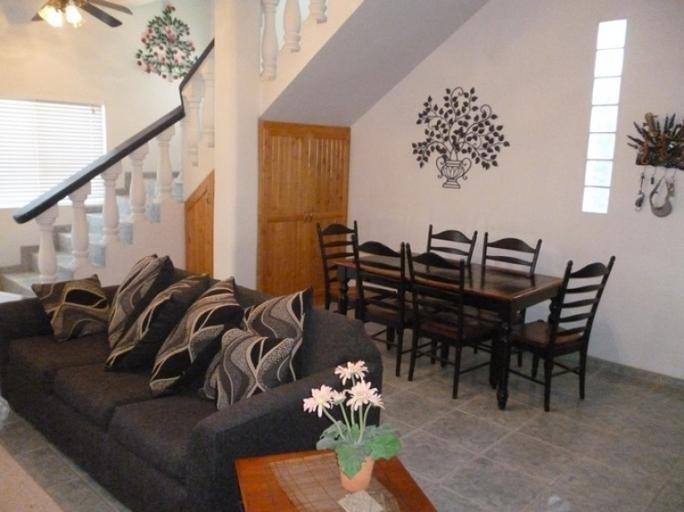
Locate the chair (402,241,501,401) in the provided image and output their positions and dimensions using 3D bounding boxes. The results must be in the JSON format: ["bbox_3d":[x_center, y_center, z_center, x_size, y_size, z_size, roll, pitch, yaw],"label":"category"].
[{"bbox_3d":[0.903,0.587,4.135,0.792,1.396,0.788,-18,25,-39],"label":"chair"}]

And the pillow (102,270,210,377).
[{"bbox_3d":[-1.170,0.463,3.343,0.475,0.564,0.781,12,-6,-7],"label":"pillow"}]

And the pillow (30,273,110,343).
[{"bbox_3d":[-1.929,0.378,3.567,0.438,0.464,0.142,-6,-27,-42],"label":"pillow"}]

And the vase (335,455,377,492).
[{"bbox_3d":[0.060,0.896,2.020,0.143,0.113,0.135,-1,3,-6],"label":"vase"}]

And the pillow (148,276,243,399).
[{"bbox_3d":[-0.876,0.536,3.059,0.475,0.553,0.817,7,-20,-22],"label":"pillow"}]
